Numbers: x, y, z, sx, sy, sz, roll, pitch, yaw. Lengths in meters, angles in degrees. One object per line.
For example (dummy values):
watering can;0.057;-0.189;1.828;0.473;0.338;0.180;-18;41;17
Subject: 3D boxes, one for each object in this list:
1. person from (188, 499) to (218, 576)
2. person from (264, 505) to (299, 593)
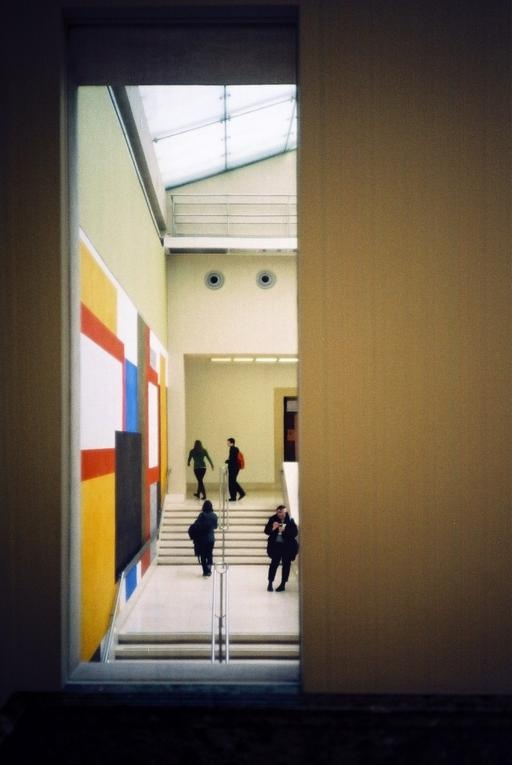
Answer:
person;-0.607;1.744;8.412;0.304;1.086;0.306;-7;31;-21
person;0.266;1.775;7.660;0.268;1.057;0.320;0;20;-5
